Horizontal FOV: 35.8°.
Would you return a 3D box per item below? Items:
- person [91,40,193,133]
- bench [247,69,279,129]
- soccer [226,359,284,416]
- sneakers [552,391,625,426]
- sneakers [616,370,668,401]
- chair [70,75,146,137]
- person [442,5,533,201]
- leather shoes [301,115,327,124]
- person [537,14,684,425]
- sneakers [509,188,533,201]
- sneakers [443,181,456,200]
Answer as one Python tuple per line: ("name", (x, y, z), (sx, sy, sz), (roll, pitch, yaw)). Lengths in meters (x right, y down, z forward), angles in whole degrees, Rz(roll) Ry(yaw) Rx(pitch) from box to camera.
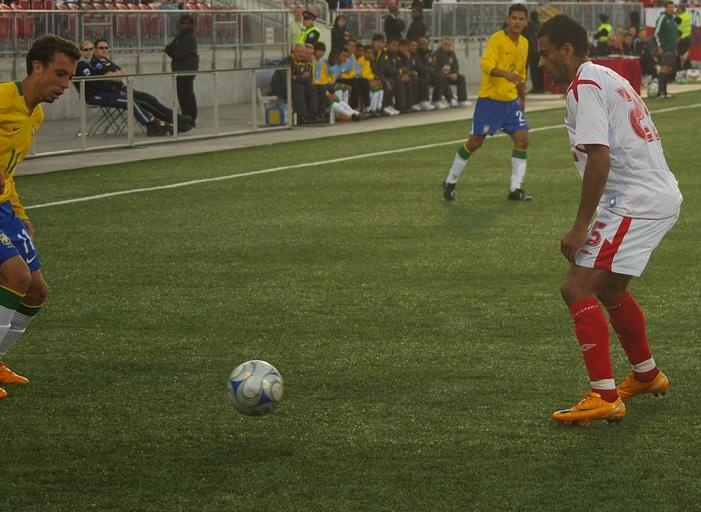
("person", (-3.415, -2.590, 17.012), (1.625, 0.918, 0.582), (22, 19, -13))
("bench", (-1.532, -2.729, 18.756), (0.379, 0.613, 0.929), (5, 11, 12))
("soccer", (-0.594, 0.788, 6.877), (0.311, 0.318, 0.332), (2, 17, 29))
("sneakers", (1.496, 0.986, 6.975), (0.500, 0.234, 0.186), (0, -8, -3))
("sneakers", (1.897, 0.836, 7.217), (0.402, 0.217, 0.152), (-8, 8, 14))
("chair", (-3.783, -2.245, 16.650), (0.918, 1.230, 0.952), (-1, 6, 10))
("person", (1.682, -1.734, 12.294), (0.785, 2.198, 1.160), (13, 19, 43))
("leather shoes", (-0.705, -2.465, 19.714), (0.479, 0.205, 0.159), (-4, 7, 0))
("person", (1.614, -0.221, 6.852), (0.914, 2.482, 0.661), (2, 14, 9))
("sneakers", (1.956, -0.703, 12.416), (0.332, 0.204, 0.111), (0, 9, 10))
("sneakers", (1.105, -0.739, 12.432), (0.128, 0.215, 0.214), (0, 4, 4))
